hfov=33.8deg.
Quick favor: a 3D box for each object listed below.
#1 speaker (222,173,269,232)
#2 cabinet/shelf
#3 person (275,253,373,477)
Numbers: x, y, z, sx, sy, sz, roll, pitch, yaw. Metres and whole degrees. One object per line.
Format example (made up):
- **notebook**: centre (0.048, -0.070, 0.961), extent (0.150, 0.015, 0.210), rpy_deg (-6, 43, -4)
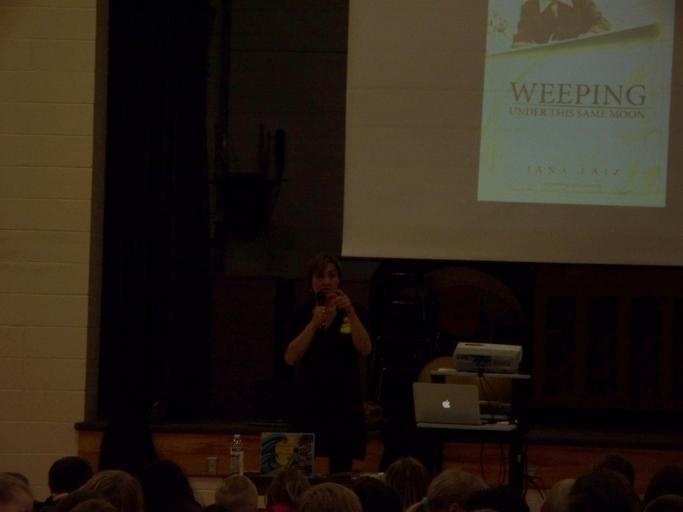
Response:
- **speaker**: centre (-0.768, -0.449, 9.254), extent (0.374, 0.371, 0.425), rpy_deg (5, -12, -26)
- **cabinet/shelf**: centre (1.075, 1.324, 8.013), extent (0.801, 1.378, 0.822), rpy_deg (-2, -7, 16)
- **person**: centre (-0.087, 0.770, 8.067), extent (0.579, 1.537, 0.158), rpy_deg (2, -1, 0)
